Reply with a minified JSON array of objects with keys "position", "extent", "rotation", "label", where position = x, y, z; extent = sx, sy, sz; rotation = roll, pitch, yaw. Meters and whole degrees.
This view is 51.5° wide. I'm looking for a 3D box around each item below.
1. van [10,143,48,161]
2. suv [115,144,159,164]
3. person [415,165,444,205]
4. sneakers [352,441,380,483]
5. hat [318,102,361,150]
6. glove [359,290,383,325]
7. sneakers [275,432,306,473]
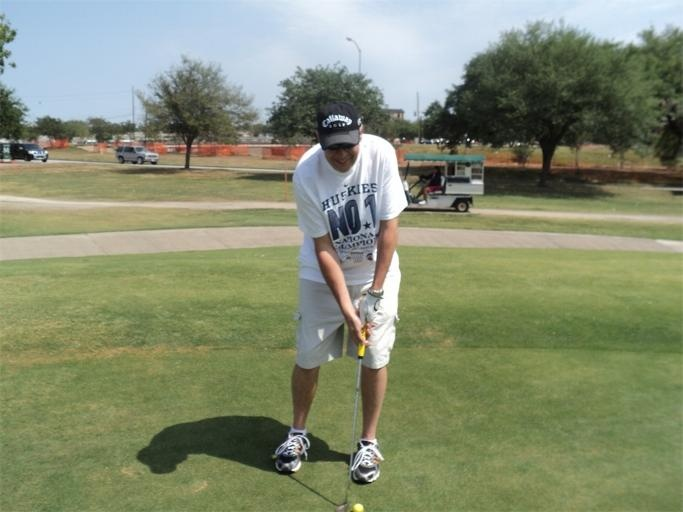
[{"position":[-23.479,-7.891,53.200],"extent":[3.162,1.377,1.358],"rotation":[5,9,35],"label":"van"},{"position":[-15.132,-7.500,52.051],"extent":[3.781,1.298,1.203],"rotation":[6,9,37],"label":"suv"},{"position":[3.204,-2.621,25.457],"extent":[0.890,1.300,1.737],"rotation":[1,7,8],"label":"person"},{"position":[0.192,1.506,5.196],"extent":[0.225,0.253,0.273],"rotation":[1,7,7],"label":"sneakers"},{"position":[-0.021,-0.997,5.128],"extent":[0.320,0.252,0.482],"rotation":[-6,28,3],"label":"hat"},{"position":[0.245,0.389,5.367],"extent":[0.172,0.250,0.111],"rotation":[9,0,31],"label":"glove"},{"position":[-0.362,1.456,5.267],"extent":[0.284,0.245,0.262],"rotation":[-1,7,-10],"label":"sneakers"}]
